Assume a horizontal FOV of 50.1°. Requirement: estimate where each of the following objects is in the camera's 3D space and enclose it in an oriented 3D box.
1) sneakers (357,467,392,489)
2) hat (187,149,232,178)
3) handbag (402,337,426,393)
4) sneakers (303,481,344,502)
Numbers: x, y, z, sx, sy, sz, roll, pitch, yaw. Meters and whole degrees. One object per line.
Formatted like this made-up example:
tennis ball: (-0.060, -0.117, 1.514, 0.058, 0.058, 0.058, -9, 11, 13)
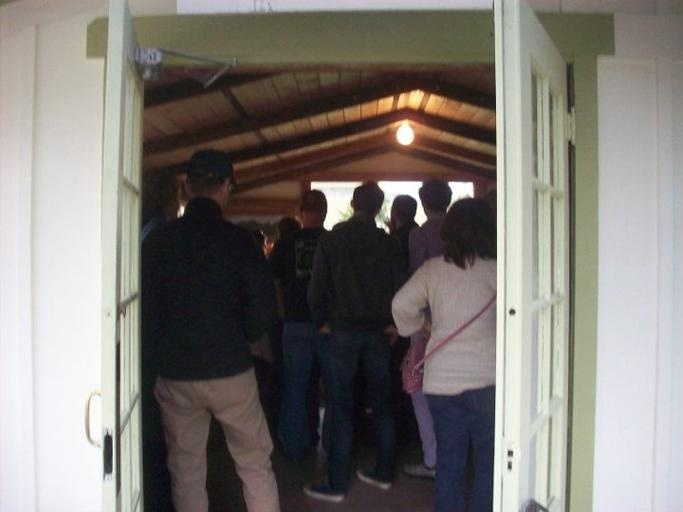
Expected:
sneakers: (0.212, 1.458, 4.808, 0.089, 0.111, 0.250, -2, 13, -43)
hat: (-0.691, -0.492, 3.941, 0.140, 0.113, 0.191, 8, 7, 41)
handbag: (0.459, 0.629, 4.284, 0.097, 0.310, 0.172, 13, -15, -30)
sneakers: (-0.109, 1.457, 4.664, 0.237, 0.087, 0.107, 9, 5, 20)
